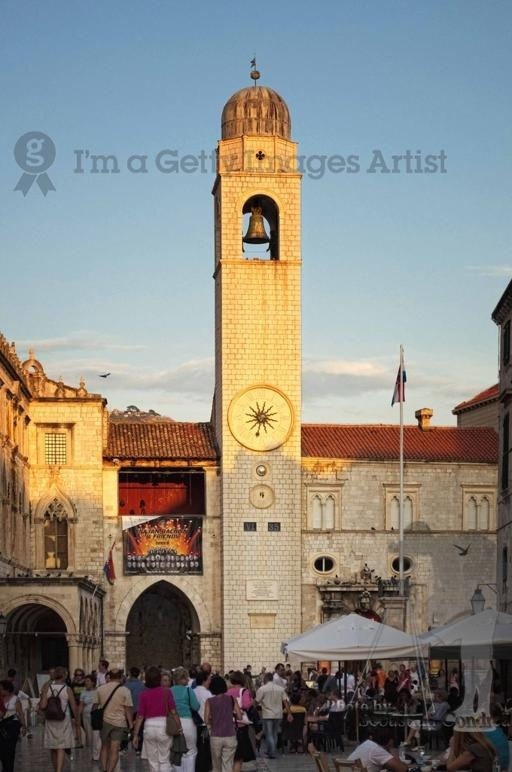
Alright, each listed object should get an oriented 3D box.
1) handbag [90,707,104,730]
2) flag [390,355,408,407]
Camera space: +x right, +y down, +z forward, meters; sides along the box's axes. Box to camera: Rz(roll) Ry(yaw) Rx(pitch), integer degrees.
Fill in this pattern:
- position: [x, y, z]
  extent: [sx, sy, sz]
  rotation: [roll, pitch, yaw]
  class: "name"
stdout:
- position: [-2.449, 5.161, 29.463]
  extent: [0.168, 0.322, 0.643]
  rotation: [0, -15, -6]
  class: "handbag"
- position: [4.696, -0.236, 61.880]
  extent: [0.445, 1.946, 0.228]
  rotation: [-3, -37, 9]
  class: "flag"
